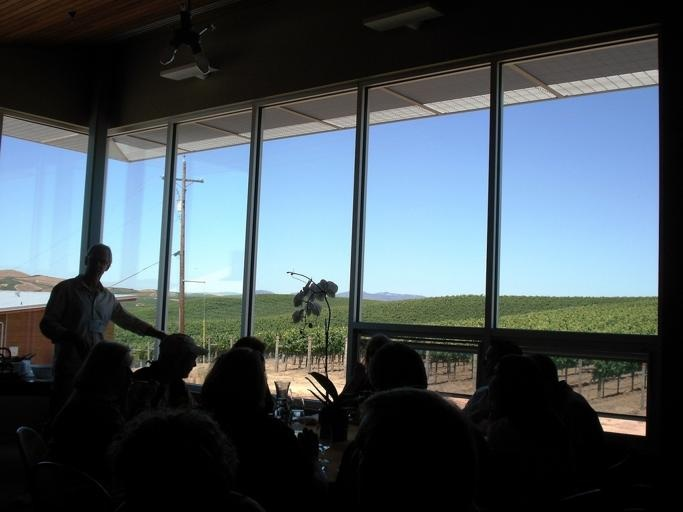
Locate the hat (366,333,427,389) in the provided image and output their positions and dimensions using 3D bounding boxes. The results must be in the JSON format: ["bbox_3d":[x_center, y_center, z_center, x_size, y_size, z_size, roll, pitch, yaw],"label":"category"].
[{"bbox_3d":[0.237,0.455,2.278,0.206,0.240,0.247,0,0,0],"label":"hat"}]

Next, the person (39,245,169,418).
[{"bbox_3d":[-1.876,0.591,4.211,0.635,1.752,0.806,-20,-27,22],"label":"person"}]

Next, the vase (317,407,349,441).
[{"bbox_3d":[-0.038,0.972,3.007,0.195,0.227,0.175,-3,-5,13],"label":"vase"}]

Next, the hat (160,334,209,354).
[{"bbox_3d":[-0.940,0.537,3.184,0.218,0.114,0.155,12,-11,-12],"label":"hat"}]
